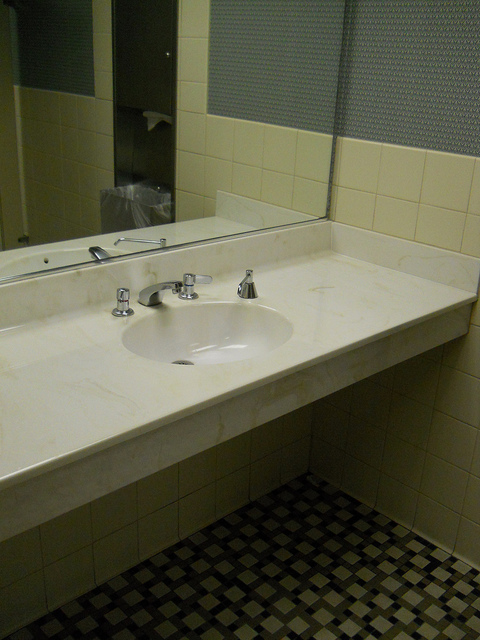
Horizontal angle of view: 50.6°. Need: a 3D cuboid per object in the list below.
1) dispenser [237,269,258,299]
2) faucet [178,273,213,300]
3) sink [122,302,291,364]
[{"bbox_3d":[0.019,-0.110,1.418,0.058,0.071,0.068,21,37,24],"label":"dispenser"},{"bbox_3d":[-0.112,-0.099,1.312,0.089,0.070,0.057,13,22,29],"label":"faucet"},{"bbox_3d":[-0.090,0.045,1.270,0.398,0.123,0.197,-2,24,-16],"label":"sink"}]
